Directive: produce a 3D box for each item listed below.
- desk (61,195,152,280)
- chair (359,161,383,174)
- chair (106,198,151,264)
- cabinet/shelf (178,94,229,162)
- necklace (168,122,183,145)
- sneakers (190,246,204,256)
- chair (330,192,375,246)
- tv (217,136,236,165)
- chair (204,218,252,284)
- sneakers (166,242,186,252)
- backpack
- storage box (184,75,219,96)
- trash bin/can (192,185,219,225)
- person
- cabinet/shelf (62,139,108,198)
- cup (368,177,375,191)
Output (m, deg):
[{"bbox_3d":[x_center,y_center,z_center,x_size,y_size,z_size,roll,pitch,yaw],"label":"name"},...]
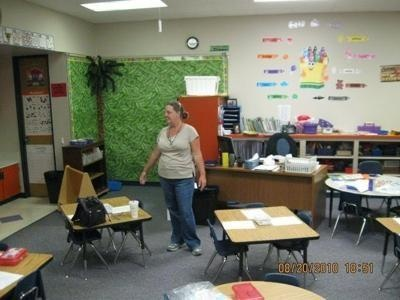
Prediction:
[{"bbox_3d":[-1.362,1.129,4.713,1.227,0.770,1.189,-1,3,-26],"label":"desk"},{"bbox_3d":[3.474,0.394,6.556,0.298,0.398,0.332,4,17,15],"label":"chair"},{"bbox_3d":[-1.160,1.236,5.011,0.550,0.654,0.561,-1,-4,-28],"label":"chair"},{"bbox_3d":[0.027,-0.515,7.076,0.982,1.499,1.009,3,-4,3],"label":"cabinet/shelf"},{"bbox_3d":[-0.387,-0.243,5.043,0.153,0.296,0.071,12,-13,32],"label":"necklace"},{"bbox_3d":[-0.062,1.612,5.080,0.126,0.123,0.315,0,3,-5],"label":"sneakers"},{"bbox_3d":[2.745,1.095,5.737,0.616,0.793,1.196,5,14,27],"label":"chair"},{"bbox_3d":[0.479,0.011,6.084,0.387,0.564,0.330,5,14,25],"label":"tv"},{"bbox_3d":[0.389,1.317,4.209,0.637,0.741,0.587,-3,-1,-22],"label":"chair"},{"bbox_3d":[-0.390,1.618,5.328,0.345,0.162,0.117,7,-7,-38],"label":"sneakers"},{"bbox_3d":[-1.520,0.837,4.382,0.418,0.379,0.313,-1,1,43],"label":"backpack"},{"bbox_3d":[0.155,-1.396,7.299,0.866,0.416,0.613,4,-5,21],"label":"storage box"},{"bbox_3d":[0.099,1.037,6.344,0.654,0.731,0.688,0,5,8],"label":"trash bin/can"},{"bbox_3d":[-0.387,0.452,5.108,0.913,2.404,0.594,1,13,8],"label":"person"},{"bbox_3d":[-2.566,0.401,7.024,0.469,1.217,1.316,0,8,2],"label":"cabinet/shelf"},{"bbox_3d":[2.853,0.565,5.310,0.085,0.211,0.118,6,15,31],"label":"cup"}]
